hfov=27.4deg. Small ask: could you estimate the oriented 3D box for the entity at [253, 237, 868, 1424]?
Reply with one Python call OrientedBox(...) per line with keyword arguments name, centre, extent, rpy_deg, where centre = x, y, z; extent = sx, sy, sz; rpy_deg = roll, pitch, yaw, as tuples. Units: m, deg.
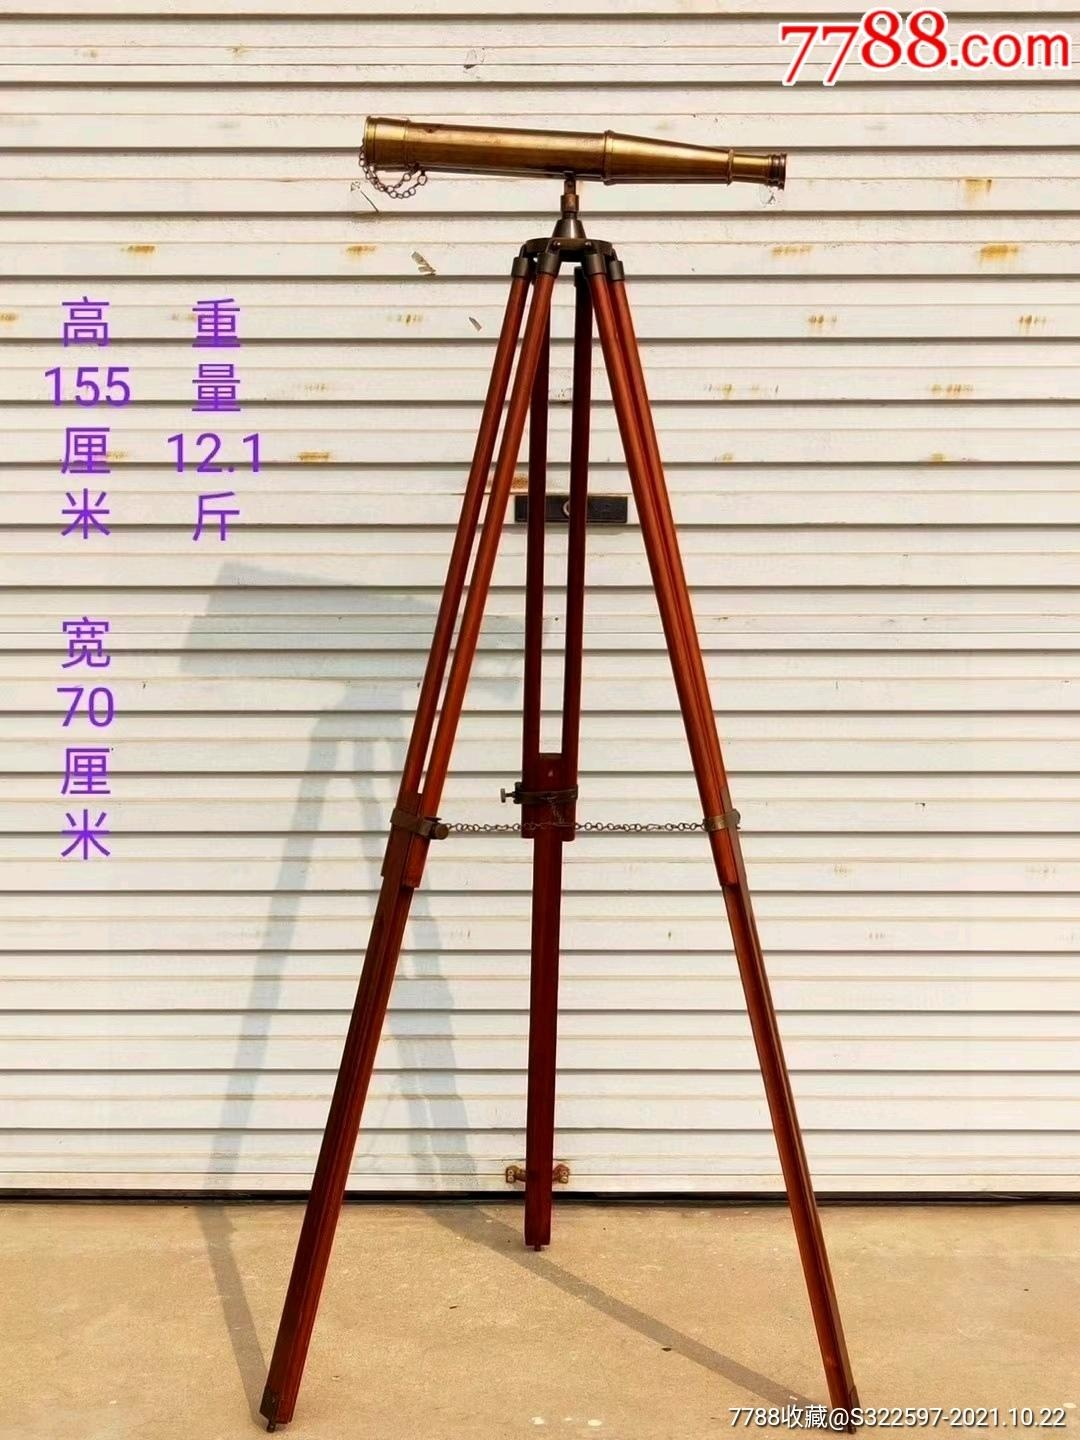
OrientedBox(name="entity", centre=(0.054, 0.181, 4.249), extent=(1.067, 2.155, 0.822), rpy_deg=(2, 10, -1))
